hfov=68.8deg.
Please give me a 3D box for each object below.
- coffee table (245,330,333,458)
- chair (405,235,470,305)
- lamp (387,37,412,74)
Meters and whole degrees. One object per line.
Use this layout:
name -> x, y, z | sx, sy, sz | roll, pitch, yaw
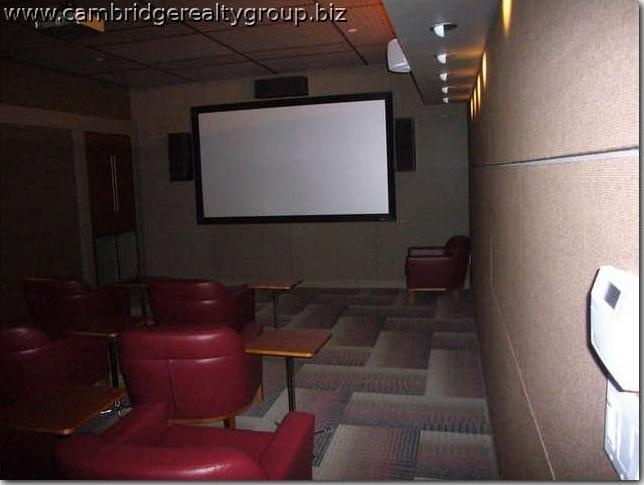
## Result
coffee table -> -0.126, 0.817, 3.012 | 0.558, 0.690, 0.573 | 4, 19, 12
chair -> 1.558, 0.326, 6.540 | 0.894, 0.887, 0.857 | 1, 6, 9
lamp -> 0.782, -1.993, 4.911 | 0.199, 0.298, 0.519 | -1, 8, 11
